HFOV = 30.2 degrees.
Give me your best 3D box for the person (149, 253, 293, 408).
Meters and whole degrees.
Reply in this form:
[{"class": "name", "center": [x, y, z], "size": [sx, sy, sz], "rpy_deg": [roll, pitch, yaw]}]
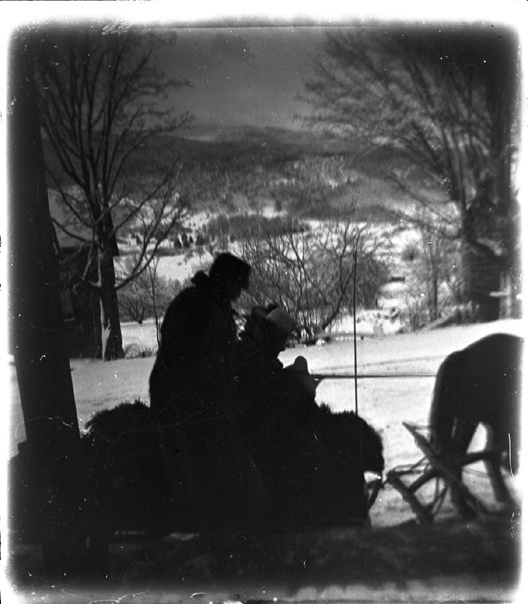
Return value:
[{"class": "person", "center": [-0.192, 0.060, 4.316], "size": [0.501, 1.164, 0.473], "rpy_deg": [-1, 4, -12]}]
